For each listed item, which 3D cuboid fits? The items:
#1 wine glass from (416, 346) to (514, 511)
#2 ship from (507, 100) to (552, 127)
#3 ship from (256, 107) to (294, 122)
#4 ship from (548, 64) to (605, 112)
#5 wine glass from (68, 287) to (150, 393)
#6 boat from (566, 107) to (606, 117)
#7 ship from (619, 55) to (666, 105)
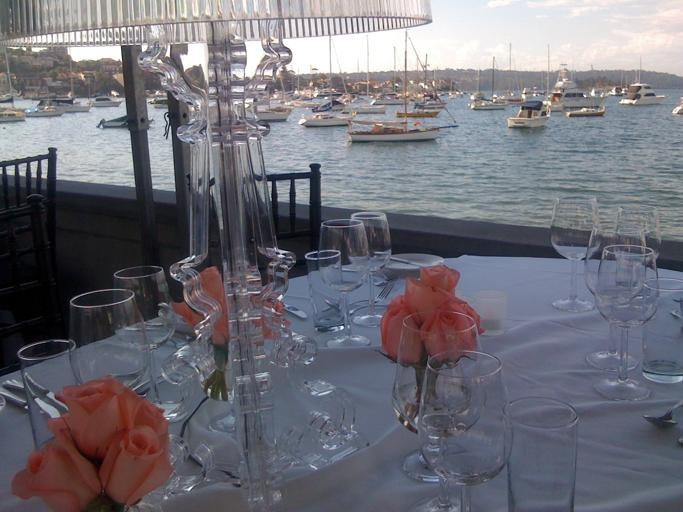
[{"bbox_3d":[0.140,0.220,0.630,0.095,0.200,0.104,0,12,8],"label":"wine glass"},{"bbox_3d":[10.762,-7.777,30.472,1.532,1.735,5.441,7,25,23],"label":"ship"},{"bbox_3d":[-3.859,-8.286,30.945,1.426,0.934,2.668,3,14,20],"label":"ship"},{"bbox_3d":[16.084,-11.948,37.167,3.230,3.458,4.989,3,14,22],"label":"ship"},{"bbox_3d":[-0.342,0.140,0.792,0.104,0.153,0.090,-9,14,-32],"label":"wine glass"},{"bbox_3d":[15.608,-9.297,34.159,1.994,0.664,4.862,4,14,24],"label":"boat"},{"bbox_3d":[21.952,-12.585,39.744,3.926,4.490,1.623,-11,20,-23],"label":"ship"}]
